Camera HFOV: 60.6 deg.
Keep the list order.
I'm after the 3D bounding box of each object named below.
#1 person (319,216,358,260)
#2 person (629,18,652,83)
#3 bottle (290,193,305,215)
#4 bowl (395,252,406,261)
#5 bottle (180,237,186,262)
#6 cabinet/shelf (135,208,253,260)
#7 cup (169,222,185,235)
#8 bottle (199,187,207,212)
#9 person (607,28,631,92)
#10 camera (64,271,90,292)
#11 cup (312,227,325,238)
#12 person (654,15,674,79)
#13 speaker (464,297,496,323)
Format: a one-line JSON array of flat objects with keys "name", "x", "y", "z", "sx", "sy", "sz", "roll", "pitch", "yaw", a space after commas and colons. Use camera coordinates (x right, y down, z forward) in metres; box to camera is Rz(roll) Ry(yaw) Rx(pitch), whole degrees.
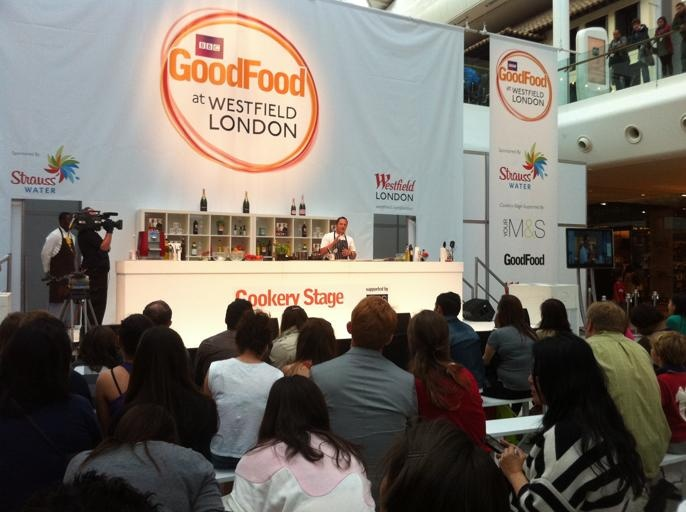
[{"name": "person", "x": -0.090, "y": -0.249, "z": 8.284, "sx": 0.454, "sy": 1.026, "sz": 0.332, "roll": 3, "pitch": -11, "yaw": -21}, {"name": "person", "x": 5.204, "y": -3.463, "z": 10.197, "sx": 0.352, "sy": 1.034, "sz": 0.250, "roll": -1, "pitch": -2, "yaw": 40}, {"name": "bottle", "x": -0.675, "y": -0.741, "z": 8.556, "sx": 0.253, "sy": 0.417, "sz": 0.113, "roll": 1, "pitch": -5, "yaw": -15}, {"name": "bowl", "x": 0.751, "y": 0.019, "z": 7.741, "sx": 0.101, "sy": 0.073, "sz": 0.104, "roll": -1, "pitch": -3, "yaw": 0}, {"name": "bottle", "x": -2.174, "y": -0.093, "z": 8.021, "sx": 0.073, "sy": 0.271, "sz": 0.313, "roll": 1, "pitch": -1, "yaw": -16}, {"name": "cabinet/shelf", "x": -1.969, "y": -0.271, "z": 8.161, "sx": 1.605, "sy": 0.636, "sz": 0.504, "roll": 1, "pitch": -1, "yaw": -31}, {"name": "cup", "x": -2.277, "y": -0.374, "z": 8.007, "sx": 0.093, "sy": 0.160, "sz": 0.229, "roll": 0, "pitch": -2, "yaw": 37}, {"name": "bottle", "x": -1.909, "y": -0.745, "z": 8.017, "sx": 0.091, "sy": 0.305, "sz": 0.086, "roll": 0, "pitch": -1, "yaw": 0}, {"name": "person", "x": 4.950, "y": -3.486, "z": 10.557, "sx": 0.265, "sy": 1.074, "sz": 0.487, "roll": 1, "pitch": -1, "yaw": -17}, {"name": "camera", "x": -2.584, "y": 0.247, "z": 5.706, "sx": 0.230, "sy": 0.184, "sz": 0.243, "roll": 2, "pitch": 1, "yaw": 35}, {"name": "cup", "x": -0.372, "y": -0.340, "z": 8.876, "sx": 0.144, "sy": 0.174, "sz": 0.165, "roll": -1, "pitch": 2, "yaw": -5}, {"name": "person", "x": 5.345, "y": -3.426, "z": 9.775, "sx": 0.269, "sy": 0.921, "sz": 0.359, "roll": -1, "pitch": -2, "yaw": 38}, {"name": "speaker", "x": 1.774, "y": 0.750, "z": 7.649, "sx": 0.279, "sy": 0.243, "sz": 0.298, "roll": -17, "pitch": 2, "yaw": -14}]
